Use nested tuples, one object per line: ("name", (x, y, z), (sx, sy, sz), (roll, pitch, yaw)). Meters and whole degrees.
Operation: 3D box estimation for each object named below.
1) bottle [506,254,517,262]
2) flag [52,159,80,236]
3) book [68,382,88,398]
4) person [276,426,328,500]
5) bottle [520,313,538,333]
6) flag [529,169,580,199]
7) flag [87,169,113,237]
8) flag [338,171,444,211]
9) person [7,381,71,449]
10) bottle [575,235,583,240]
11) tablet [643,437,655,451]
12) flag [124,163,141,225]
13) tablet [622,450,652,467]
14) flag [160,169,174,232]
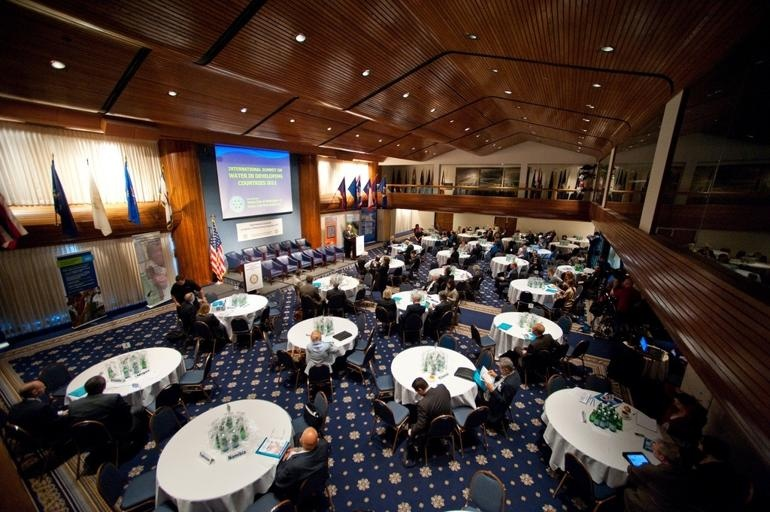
("bottle", (5.502, 0.076, 18.300), (0.400, 0.280, 0.386), (1, 17, 0))
("flag", (-9.254, -1.679, 12.293), (0.435, 2.253, 0.658), (-11, 16, -34))
("book", (-6.728, 2.971, 9.447), (0.329, 0.084, 0.323), (26, 34, 24))
("person", (-1.575, 3.895, 8.107), (1.079, 1.384, 0.389), (-6, 14, -17))
("bottle", (3.938, 1.761, 11.632), (0.438, 0.522, 0.442), (8, 14, 24))
("flag", (8.886, -3.749, 22.106), (2.114, 1.989, 1.118), (4, 2, -1))
("flag", (-8.672, -1.625, 12.981), (0.437, 2.089, 0.548), (-10, 16, -31))
("flag", (0.437, -3.648, 24.238), (6.897, 2.464, 0.493), (-11, 51, -24))
("person", (-7.105, 3.354, 8.845), (0.963, 1.535, 0.514), (-8, 15, -27))
("bottle", (11.563, -1.082, 25.272), (0.347, 0.231, 0.340), (-5, 24, 2))
("tablet", (5.266, 3.724, 8.481), (0.196, 0.025, 0.231), (9, 45, 18))
("flag", (-8.146, -2.045, 13.755), (0.350, 2.010, 0.711), (-9, 15, -28))
("tablet", (4.911, 3.895, 8.303), (0.477, 0.133, 0.244), (-3, 12, -6))
("flag", (-7.468, -1.869, 14.639), (0.336, 1.979, 0.619), (-7, 14, -20))
